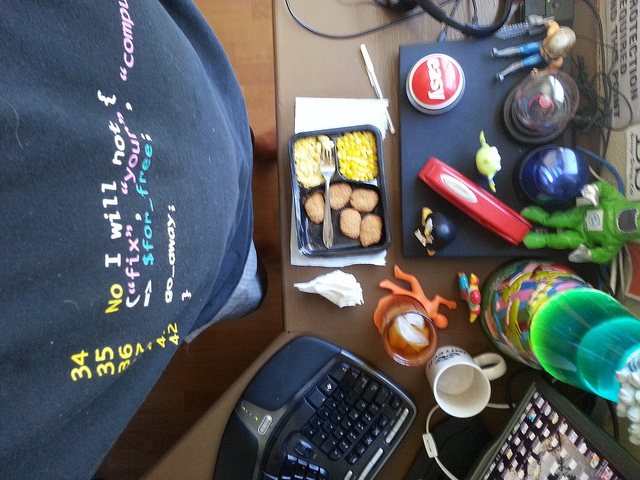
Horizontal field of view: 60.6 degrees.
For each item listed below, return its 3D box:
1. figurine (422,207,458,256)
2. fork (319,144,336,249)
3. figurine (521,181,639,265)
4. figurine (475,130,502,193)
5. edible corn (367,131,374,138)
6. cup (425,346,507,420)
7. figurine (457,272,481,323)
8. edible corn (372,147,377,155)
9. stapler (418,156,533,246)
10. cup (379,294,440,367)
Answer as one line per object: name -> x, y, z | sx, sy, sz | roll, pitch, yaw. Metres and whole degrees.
figurine -> 0.218, -0.019, 1.009 | 0.055, 0.069, 0.090 | 4, 37, 5
fork -> 0.024, -0.079, 1.065 | 0.023, 0.212, 0.015 | 0, 5, -3
figurine -> 0.455, -0.041, 0.969 | 0.169, 0.168, 0.103 | 24, 62, 3
figurine -> 0.305, -0.142, 0.996 | 0.035, 0.089, 0.069 | 4, 37, 4
edible corn -> 0.094, -0.204, 1.060 | 0.009, 0.011, 0.002 | -2, 18, 34
cup -> 0.256, 0.255, 1.014 | 0.143, 0.117, 0.110 | -7, 21, -5
figurine -> 0.285, 0.107, 1.037 | 0.024, 0.100, 0.086 | -9, 35, -6
edible corn -> 0.107, -0.175, 1.068 | 0.008, 0.009, 0.010 | 7, 63, -5
stapler -> 0.295, -0.080, 1.015 | 0.238, 0.077, 0.062 | 34, 29, 5
cup -> 0.159, 0.175, 1.047 | 0.092, 0.127, 0.092 | -33, 19, 13
